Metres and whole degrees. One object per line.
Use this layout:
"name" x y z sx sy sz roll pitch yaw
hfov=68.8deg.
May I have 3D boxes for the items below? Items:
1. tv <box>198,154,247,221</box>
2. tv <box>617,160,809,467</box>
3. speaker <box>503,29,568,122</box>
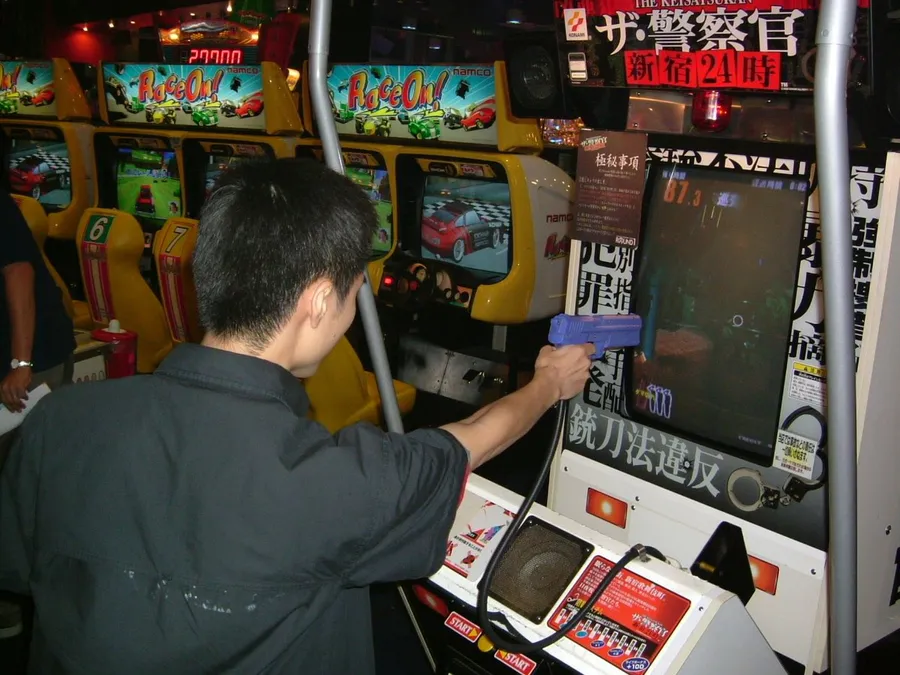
"tv" -1.922 -1.183 5.598 0.347 0.670 0.345 7 -22 -27
"tv" 0.787 -0.022 2.068 0.603 1.018 0.494 13 -16 9
"speaker" 0.263 -0.831 2.146 0.253 0.251 0.089 -15 15 -34
